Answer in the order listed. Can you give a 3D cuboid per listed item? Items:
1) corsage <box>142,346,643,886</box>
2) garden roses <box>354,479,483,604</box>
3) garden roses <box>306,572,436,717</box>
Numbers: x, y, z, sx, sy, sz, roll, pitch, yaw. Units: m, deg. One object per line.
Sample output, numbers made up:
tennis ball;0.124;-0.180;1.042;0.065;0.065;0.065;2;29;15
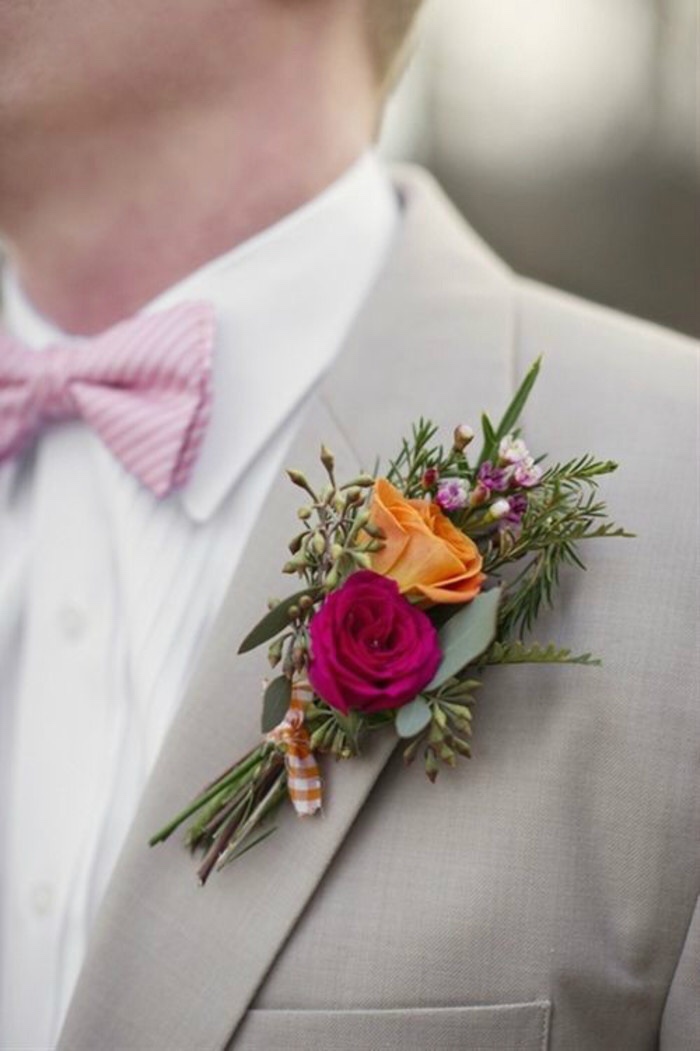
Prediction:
corsage;0.065;0.077;1.240;0.440;0.355;0.598;23;97;-1
garden roses;0.070;0.030;1.088;0.136;0.139;0.062;32;96;43
garden roses;0.024;0.108;1.030;0.140;0.074;0.130;2;90;-6
